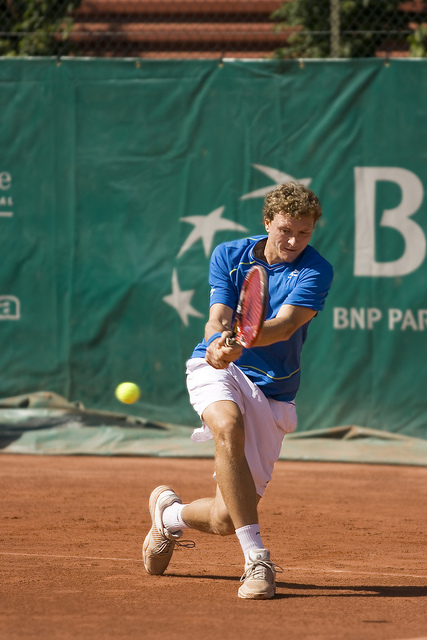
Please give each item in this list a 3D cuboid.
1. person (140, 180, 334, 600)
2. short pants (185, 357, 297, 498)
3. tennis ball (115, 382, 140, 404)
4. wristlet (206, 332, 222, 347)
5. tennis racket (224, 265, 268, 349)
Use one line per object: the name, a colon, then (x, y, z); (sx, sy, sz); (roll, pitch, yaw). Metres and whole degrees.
person: (0.066, 0.265, 3.348); (0.612, 1.501, 0.744); (4, 10, 10)
short pants: (0.167, 0.325, 3.569); (0.407, 0.239, 0.628); (-9, 23, 18)
tennis ball: (-0.541, 0.444, 5.768); (0.154, 0.123, 0.121); (0, 37, -13)
wristlet: (-0.004, 0.067, 3.295); (0.050, 0.052, 0.099); (2, 9, 1)
tennis racket: (0.107, -0.035, 3.201); (0.025, 0.121, 0.294); (14, -28, -9)
